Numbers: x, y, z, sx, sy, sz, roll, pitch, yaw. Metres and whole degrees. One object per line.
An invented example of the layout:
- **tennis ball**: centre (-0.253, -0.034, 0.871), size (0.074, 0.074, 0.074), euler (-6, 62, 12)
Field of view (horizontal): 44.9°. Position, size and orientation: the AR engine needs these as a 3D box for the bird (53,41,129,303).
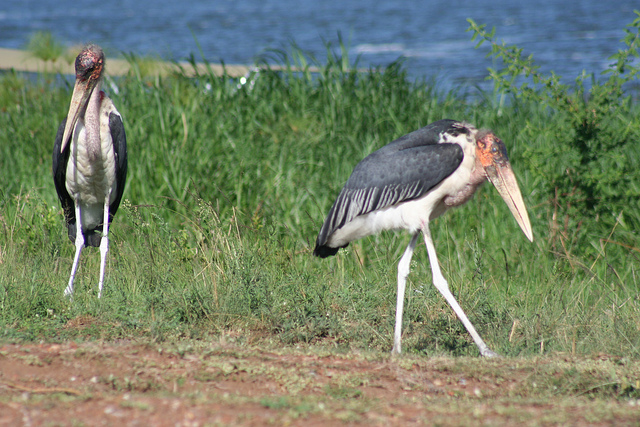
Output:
- **bird**: centre (-2.542, -0.555, 8.572), size (0.810, 2.699, 1.273), euler (-1, 8, -15)
